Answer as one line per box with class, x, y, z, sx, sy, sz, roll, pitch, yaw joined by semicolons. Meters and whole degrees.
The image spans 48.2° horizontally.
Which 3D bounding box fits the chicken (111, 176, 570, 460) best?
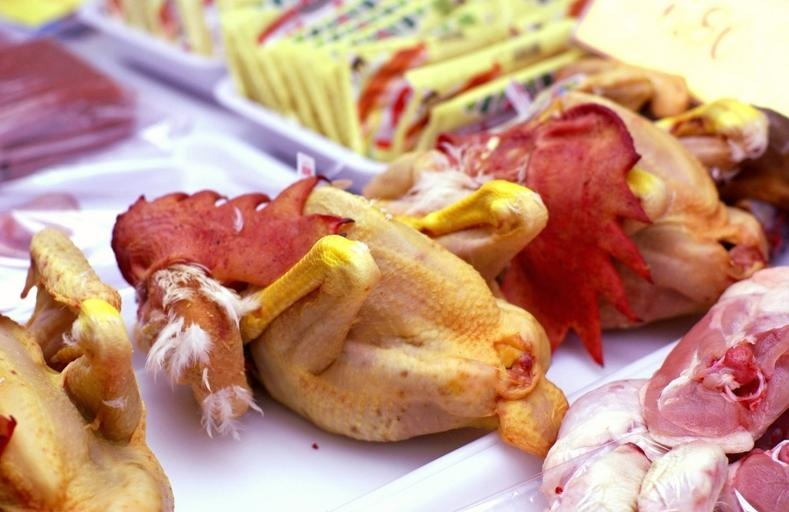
chicken;-0.085;0.050;1.166;0.634;0.267;0.387;10;20;30
